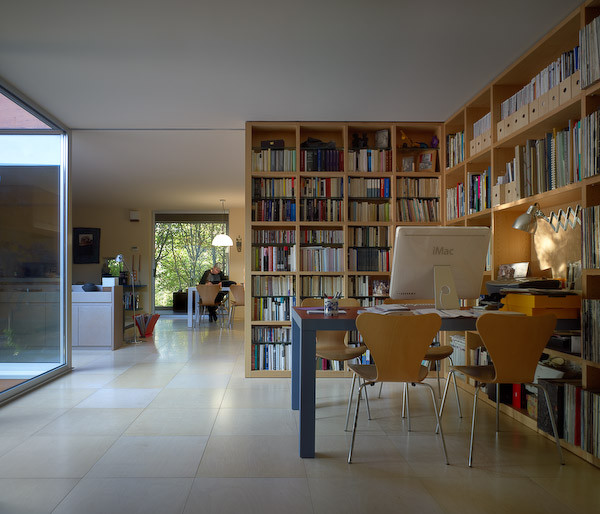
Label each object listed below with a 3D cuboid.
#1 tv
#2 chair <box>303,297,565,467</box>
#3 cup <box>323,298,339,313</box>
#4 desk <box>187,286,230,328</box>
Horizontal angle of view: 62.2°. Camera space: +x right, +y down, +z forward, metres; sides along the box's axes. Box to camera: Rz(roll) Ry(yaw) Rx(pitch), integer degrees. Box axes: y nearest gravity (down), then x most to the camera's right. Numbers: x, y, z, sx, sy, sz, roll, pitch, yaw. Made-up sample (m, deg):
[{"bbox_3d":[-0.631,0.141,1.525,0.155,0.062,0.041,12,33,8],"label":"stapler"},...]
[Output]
[{"bbox_3d":[0.966,0.061,3.358,0.637,0.521,0.301,2,9,-2],"label":"tv"},{"bbox_3d":[0.892,0.803,3.873,1.976,0.890,1.841,0,0,9],"label":"chair"},{"bbox_3d":[0.232,0.350,3.606,0.085,0.095,0.087,1,-3,0],"label":"cup"},{"bbox_3d":[-1.796,1.011,9.736,0.600,0.985,0.703,0,1,-2],"label":"desk"}]
